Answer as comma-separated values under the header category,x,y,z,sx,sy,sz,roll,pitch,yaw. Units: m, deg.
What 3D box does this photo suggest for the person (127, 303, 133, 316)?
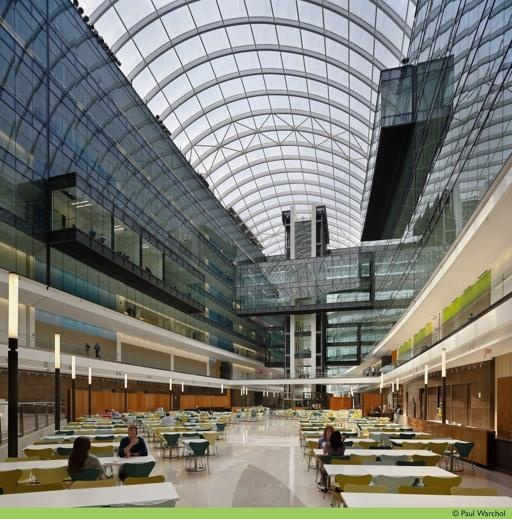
category,x,y,z,sx,sy,sz,roll,pitch,yaw
person,-10.533,4.174,39.129,0.567,0.805,1.843,3,0,-9

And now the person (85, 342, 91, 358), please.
category,x,y,z,sx,sy,sz,roll,pitch,yaw
person,-11.359,6.073,31.647,0.255,0.825,0.862,0,-20,-5

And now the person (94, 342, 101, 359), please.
category,x,y,z,sx,sy,sz,roll,pitch,yaw
person,-11.254,6.496,33.405,0.487,1.280,1.741,5,-21,-18
